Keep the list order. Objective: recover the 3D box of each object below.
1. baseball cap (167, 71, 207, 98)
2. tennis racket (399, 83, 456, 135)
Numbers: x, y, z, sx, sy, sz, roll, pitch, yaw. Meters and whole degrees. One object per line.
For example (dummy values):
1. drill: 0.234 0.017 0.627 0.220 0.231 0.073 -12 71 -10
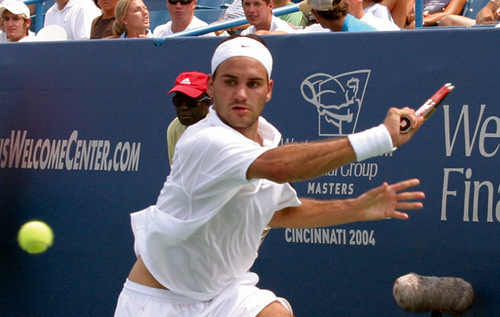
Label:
1. baseball cap: -0.619 -0.795 7.118 0.355 0.281 0.514 4 14 18
2. tennis racket: 1.386 -0.386 5.249 0.194 0.398 0.508 2 2 45
